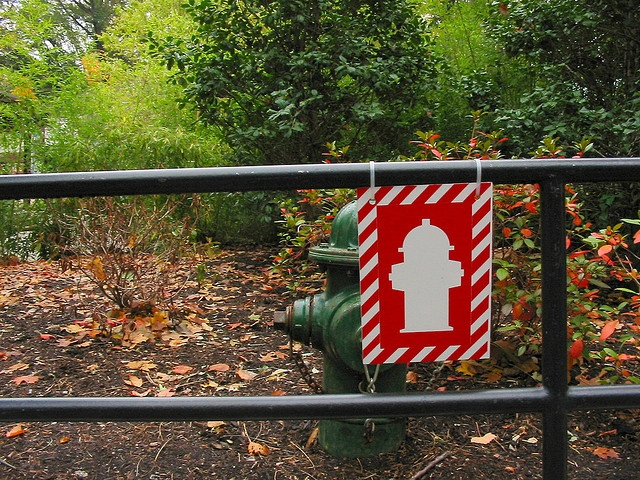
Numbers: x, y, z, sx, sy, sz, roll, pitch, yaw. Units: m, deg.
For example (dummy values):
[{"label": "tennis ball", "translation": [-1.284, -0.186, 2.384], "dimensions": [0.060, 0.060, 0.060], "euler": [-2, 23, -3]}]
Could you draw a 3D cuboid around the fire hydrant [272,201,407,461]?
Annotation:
[{"label": "fire hydrant", "translation": [0.146, 0.637, 4.955], "dimensions": [0.792, 1.792, 0.778], "euler": [-7, -9, 17]}]
